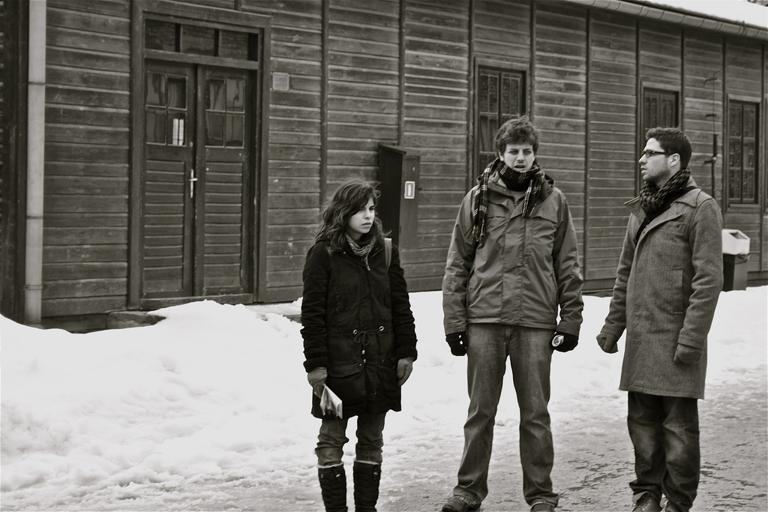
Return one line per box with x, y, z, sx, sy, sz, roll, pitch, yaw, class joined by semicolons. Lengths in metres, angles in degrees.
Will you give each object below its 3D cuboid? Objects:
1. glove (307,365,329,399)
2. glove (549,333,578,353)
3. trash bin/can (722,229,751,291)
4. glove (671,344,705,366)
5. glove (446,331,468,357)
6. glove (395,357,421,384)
-0.476;0.930;5.847;0.178;0.239;0.087;-1;-1;17;glove
1.439;0.692;6.334;0.175;0.097;0.145;5;-5;-39;glove
6.713;0.096;15.354;0.696;1.155;0.333;0;-1;-28;trash bin/can
2.367;0.768;6.198;0.239;0.168;0.132;0;0;4;glove
0.585;0.717;6.486;0.153;0.193;0.202;-3;4;6;glove
0.176;0.878;6.021;0.070;0.200;0.149;14;7;32;glove
